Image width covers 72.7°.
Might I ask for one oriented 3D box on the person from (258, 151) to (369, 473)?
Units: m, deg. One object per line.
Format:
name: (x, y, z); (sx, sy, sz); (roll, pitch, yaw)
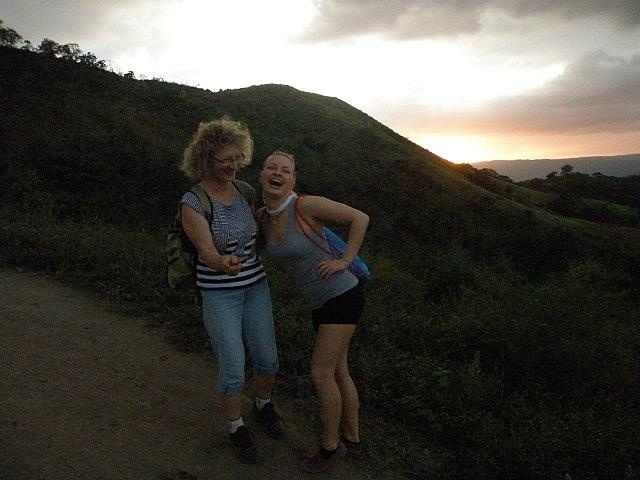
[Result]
person: (-0.054, 0.792, 4.674); (1.109, 3.299, 0.750); (17, 18, 41)

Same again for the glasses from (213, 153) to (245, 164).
glasses: (-0.935, -0.839, 4.482); (0.161, 0.052, 0.165); (-15, 30, -42)

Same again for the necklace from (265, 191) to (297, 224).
necklace: (-0.379, -0.353, 4.447); (0.277, 0.077, 0.215); (-45, 6, -22)
